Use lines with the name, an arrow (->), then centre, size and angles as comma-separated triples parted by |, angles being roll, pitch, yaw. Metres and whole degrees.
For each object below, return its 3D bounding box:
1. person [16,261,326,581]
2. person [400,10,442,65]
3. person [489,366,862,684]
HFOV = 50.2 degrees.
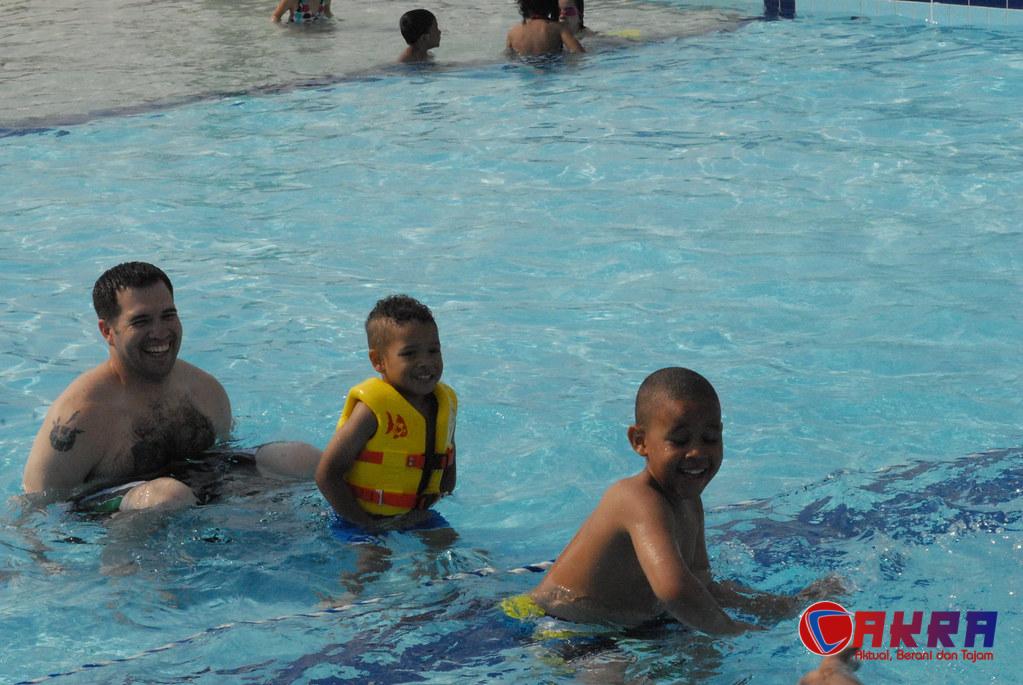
person -> -2.030, 0.313, 6.004 | 1.346, 1.459, 0.898 | -16, 23, -35
person -> -1.258, -4.030, 14.435 | 0.507, 0.731, 0.699 | -2, 17, 5
person -> 0.716, 0.750, 5.081 | 1.315, 1.263, 0.727 | -11, 21, -26
